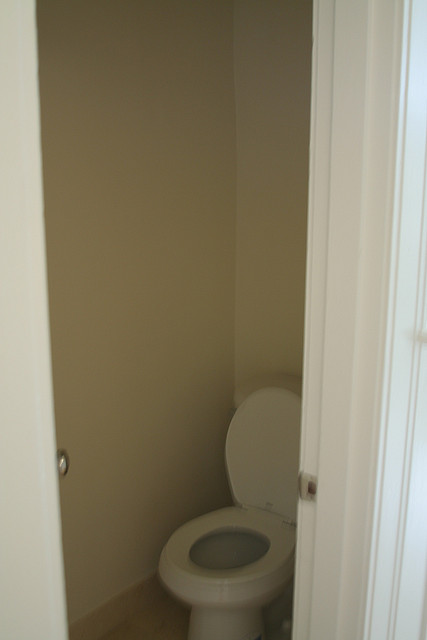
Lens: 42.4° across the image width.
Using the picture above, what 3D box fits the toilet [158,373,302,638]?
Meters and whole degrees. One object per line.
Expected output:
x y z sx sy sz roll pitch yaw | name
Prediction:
0.073 0.446 1.488 0.335 0.338 0.589 2 17 21 | toilet
